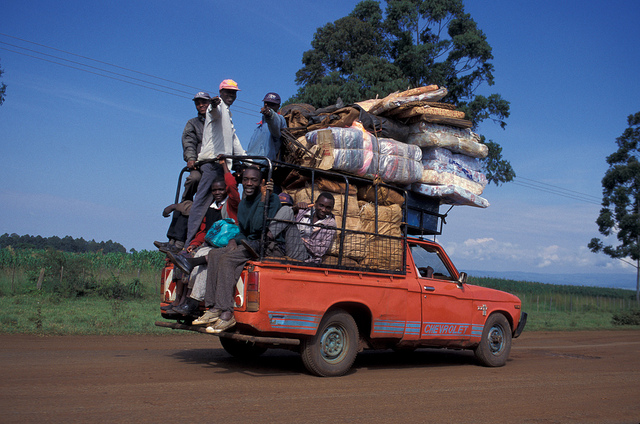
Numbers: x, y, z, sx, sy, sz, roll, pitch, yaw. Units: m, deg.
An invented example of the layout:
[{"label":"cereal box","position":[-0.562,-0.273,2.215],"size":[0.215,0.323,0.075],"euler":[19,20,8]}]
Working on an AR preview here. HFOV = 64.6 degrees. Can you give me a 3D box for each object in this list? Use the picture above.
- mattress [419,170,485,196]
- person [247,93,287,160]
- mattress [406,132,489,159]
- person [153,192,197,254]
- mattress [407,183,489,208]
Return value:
[{"label":"mattress","position":[3.076,-0.689,11.773],"size":[1.788,0.397,0.365],"euler":[7,-6,-33]},{"label":"person","position":[-1.072,-1.673,10.466],"size":[0.722,1.377,1.189],"euler":[4,-5,-9]},{"label":"mattress","position":[2.988,-1.596,11.883],"size":[2.115,0.435,0.483],"euler":[6,-5,-26]},{"label":"person","position":[-2.690,0.321,9.775],"size":[0.404,1.150,0.513],"euler":[22,-46,-4]},{"label":"mattress","position":[3.102,-0.353,11.735],"size":[1.448,0.367,1.470],"euler":[8,-9,40]}]
